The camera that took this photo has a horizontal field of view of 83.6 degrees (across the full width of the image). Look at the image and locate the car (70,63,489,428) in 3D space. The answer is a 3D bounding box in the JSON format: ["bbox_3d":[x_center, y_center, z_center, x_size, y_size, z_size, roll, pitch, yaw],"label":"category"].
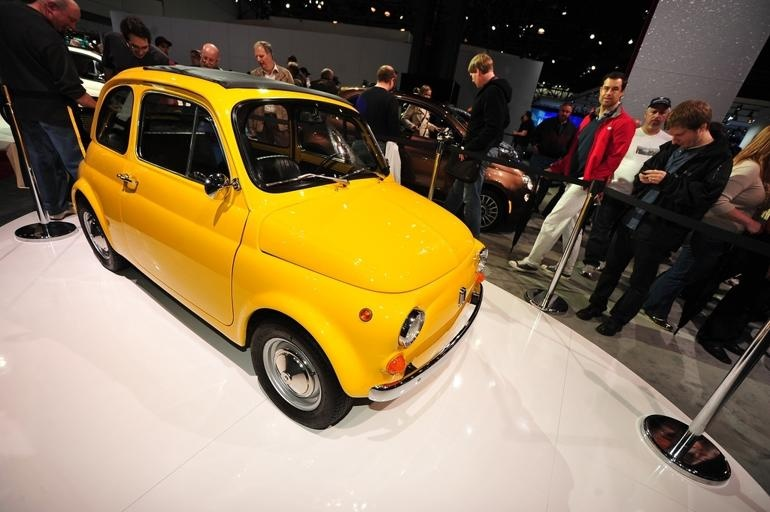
[{"bbox_3d":[-1.004,-0.297,4.632,4.894,2.381,2.505,31,42,19],"label":"car"}]

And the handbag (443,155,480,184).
[{"bbox_3d":[1.043,-1.138,5.703,0.384,0.392,0.140,28,16,31],"label":"handbag"}]
